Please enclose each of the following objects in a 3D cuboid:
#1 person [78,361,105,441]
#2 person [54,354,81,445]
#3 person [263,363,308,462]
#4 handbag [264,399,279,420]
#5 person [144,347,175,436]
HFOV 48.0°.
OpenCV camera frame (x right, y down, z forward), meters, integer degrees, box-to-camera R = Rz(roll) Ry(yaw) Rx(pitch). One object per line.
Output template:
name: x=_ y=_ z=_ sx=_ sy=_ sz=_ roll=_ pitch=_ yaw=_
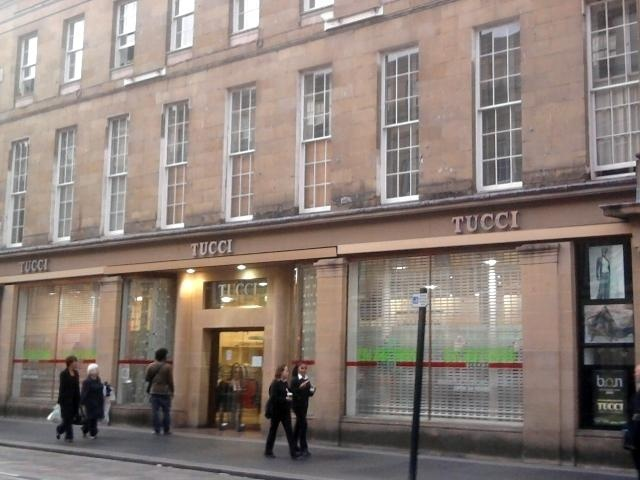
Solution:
person: x=-6.126 y=4.358 z=19.377 sx=0.619 sy=1.995 sz=0.741 roll=1 pitch=2 yaw=29
person: x=-6.633 y=4.226 z=19.064 sx=0.582 sy=2.196 sz=0.434 roll=8 pitch=-14 yaw=-37
person: x=-0.898 y=4.102 z=17.077 sx=0.823 sy=2.135 sz=0.665 roll=-1 pitch=-11 yaw=1
handbag: x=-1.155 y=3.981 z=16.931 sx=0.299 sy=0.419 sz=0.210 roll=-9 pitch=-14 yaw=38
person: x=-4.592 y=4.367 z=20.636 sx=0.759 sy=2.406 sz=0.528 roll=3 pitch=-12 yaw=-15
